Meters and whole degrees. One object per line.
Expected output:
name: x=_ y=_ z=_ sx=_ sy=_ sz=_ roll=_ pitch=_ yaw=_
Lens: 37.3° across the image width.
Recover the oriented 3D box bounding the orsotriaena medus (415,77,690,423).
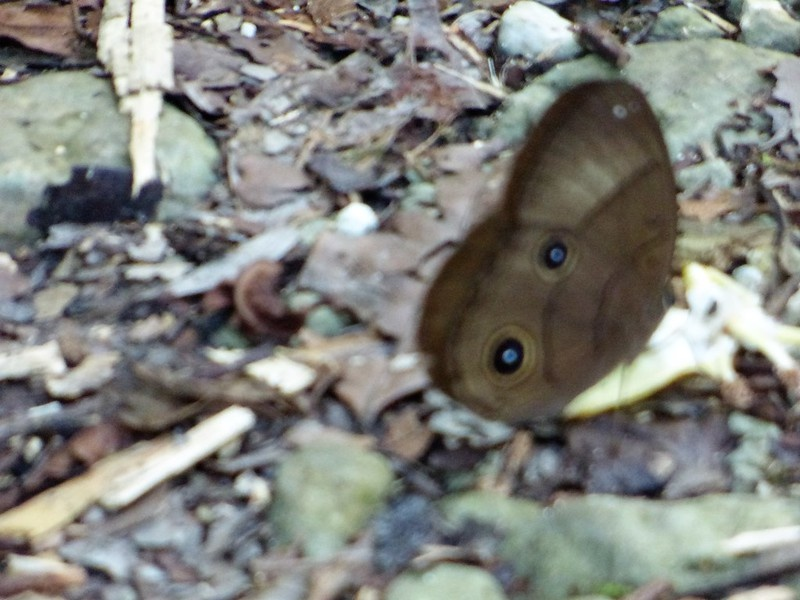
orsotriaena medus: x=0.245 y=-0.075 z=1.916 sx=0.360 sy=0.420 sz=0.395 roll=5 pitch=55 yaw=-14
